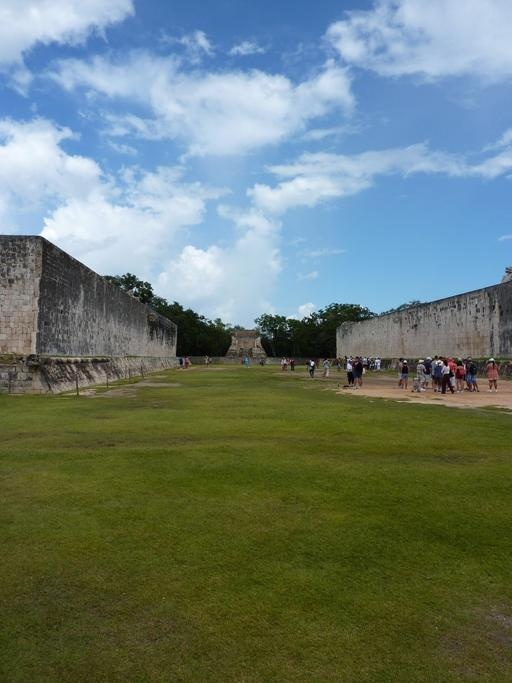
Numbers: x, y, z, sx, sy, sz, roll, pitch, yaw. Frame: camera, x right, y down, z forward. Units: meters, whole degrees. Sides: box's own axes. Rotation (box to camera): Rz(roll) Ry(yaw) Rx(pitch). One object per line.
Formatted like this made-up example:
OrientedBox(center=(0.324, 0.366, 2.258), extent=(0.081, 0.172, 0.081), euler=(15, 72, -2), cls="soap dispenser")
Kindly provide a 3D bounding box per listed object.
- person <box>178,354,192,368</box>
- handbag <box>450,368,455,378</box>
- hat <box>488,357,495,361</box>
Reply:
OrientedBox(center=(-6.429, 1.830, 44.745), extent=(0.730, 2.122, 0.685), euler=(-7, 9, -38), cls="person")
OrientedBox(center=(5.788, 0.958, 14.683), extent=(0.099, 0.226, 0.318), euler=(2, 2, 19), cls="handbag")
OrientedBox(center=(8.732, 0.656, 18.458), extent=(0.262, 0.146, 0.378), euler=(-5, -8, 13), cls="hat")
